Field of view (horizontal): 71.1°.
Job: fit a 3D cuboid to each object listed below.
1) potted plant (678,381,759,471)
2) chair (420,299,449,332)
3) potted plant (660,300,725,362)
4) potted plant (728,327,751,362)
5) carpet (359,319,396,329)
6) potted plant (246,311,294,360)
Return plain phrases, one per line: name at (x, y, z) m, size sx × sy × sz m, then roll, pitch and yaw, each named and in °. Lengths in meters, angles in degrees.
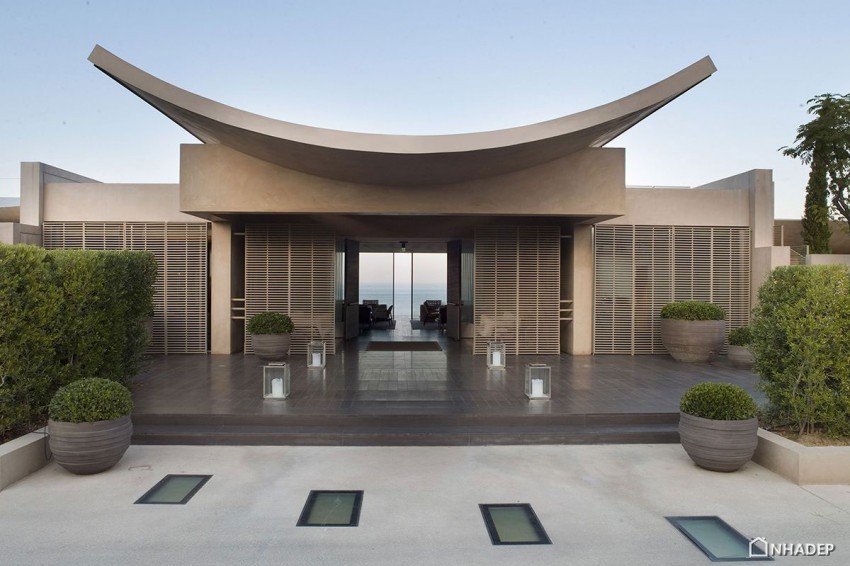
potted plant at (4.995, 2.427, 10.495) m, size 1.568 × 1.472 × 1.427 m, roll 1°, pitch -6°, yaw -1°
chair at (0.457, 1.299, 24.646) m, size 1.155 × 1.157 × 1.074 m, roll 0°, pitch -6°, yaw -2°
potted plant at (7.117, 1.293, 16.013) m, size 1.910 × 1.599 × 1.779 m, roll 1°, pitch -2°, yaw 24°
potted plant at (8.137, 1.582, 15.266) m, size 0.402 × 0.909 × 0.678 m, roll -4°, pitch 8°, yaw -31°
carpet at (-1.894, 1.690, 24.108) m, size 1.080 × 0.317 × 0.014 m, roll -6°, pitch 43°, yaw 2°
potted plant at (-4.304, 1.394, 15.584) m, size 1.425 × 1.227 × 1.379 m, roll -4°, pitch -5°, yaw 22°
